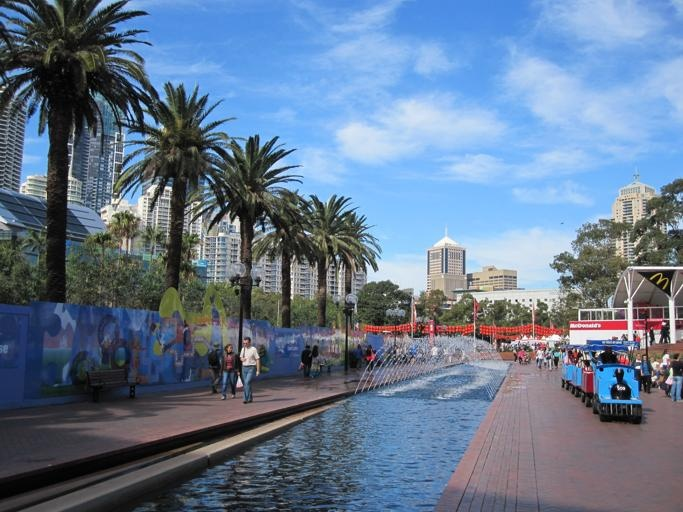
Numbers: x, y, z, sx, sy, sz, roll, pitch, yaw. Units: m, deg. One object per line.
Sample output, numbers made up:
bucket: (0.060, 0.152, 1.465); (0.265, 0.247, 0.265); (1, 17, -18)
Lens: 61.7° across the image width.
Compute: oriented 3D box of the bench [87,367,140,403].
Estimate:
bench: (-7.565, 4.270, 18.803); (0.600, 1.026, 1.695); (-6, -9, 26)

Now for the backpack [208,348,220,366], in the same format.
backpack: (-4.969, 3.964, 22.296); (0.369, 0.665, 0.630); (3, -7, -18)

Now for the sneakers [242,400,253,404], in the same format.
sneakers: (-3.125, 4.841, 18.949); (0.293, 0.144, 0.105); (-14, 25, -6)
